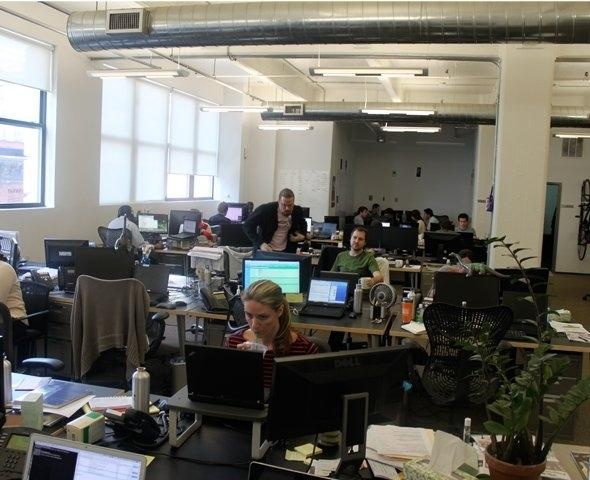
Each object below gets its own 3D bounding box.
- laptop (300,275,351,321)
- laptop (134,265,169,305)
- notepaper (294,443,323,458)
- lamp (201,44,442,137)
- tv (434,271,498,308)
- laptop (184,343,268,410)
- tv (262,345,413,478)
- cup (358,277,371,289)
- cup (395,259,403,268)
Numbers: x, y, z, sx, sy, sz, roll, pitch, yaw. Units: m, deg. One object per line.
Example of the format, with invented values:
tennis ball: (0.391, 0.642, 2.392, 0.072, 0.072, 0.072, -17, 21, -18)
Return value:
laptop: (0.286, 0.539, 4.515, 0.351, 0.249, 0.349, 3, 12, 19)
laptop: (-1.354, 0.393, 4.906, 0.362, 0.380, 0.310, 3, 3, 10)
notepaper: (0.061, 0.985, 2.391, 0.072, 0.019, 0.071, -2, 4, -41)
lamp: (0.838, -2.409, 9.397, 2.889, 0.890, 2.245, 1, 10, 12)
tv: (1.424, 0.414, 4.217, 0.435, 0.339, 0.090, 3, -3, 7)
laptop: (-0.305, 0.578, 2.359, 0.343, 0.303, 0.286, 6, 8, 12)
tv: (0.191, 0.770, 2.231, 0.475, 0.370, 0.142, -5, 16, -12)
cup: (0.659, 0.413, 4.757, 0.074, 0.091, 0.121, -2, 0, -7)
cup: (1.501, 0.319, 7.286, 0.074, 0.104, 0.146, 1, 3, 16)
